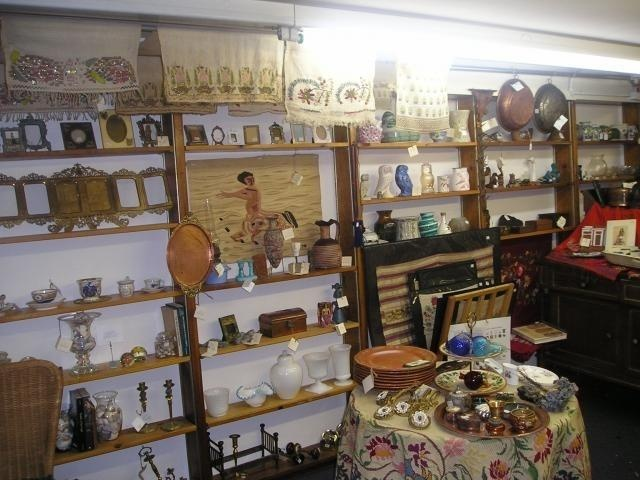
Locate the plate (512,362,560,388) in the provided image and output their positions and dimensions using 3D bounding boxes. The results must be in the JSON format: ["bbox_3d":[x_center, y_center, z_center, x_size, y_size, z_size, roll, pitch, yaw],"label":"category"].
[{"bbox_3d":[1.386,0.851,3.022,0.211,0.065,0.296,-7,11,-17],"label":"plate"}]

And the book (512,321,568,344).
[{"bbox_3d":[2.299,0.978,4.977,0.297,0.056,0.285,-9,14,-21],"label":"book"}]

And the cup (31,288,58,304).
[{"bbox_3d":[-1.881,0.380,3.243,0.116,0.063,0.117,1,-6,0],"label":"cup"}]

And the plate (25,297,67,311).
[{"bbox_3d":[-1.846,0.441,3.240,0.224,0.056,0.216,-11,13,-34],"label":"plate"}]

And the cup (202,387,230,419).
[{"bbox_3d":[-0.805,1.267,3.720,0.224,0.172,0.201,-3,-2,-20],"label":"cup"}]

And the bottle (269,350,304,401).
[{"bbox_3d":[-0.314,1.104,3.952,0.325,0.381,0.310,14,-32,-23],"label":"bottle"}]

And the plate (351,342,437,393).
[{"bbox_3d":[0.503,0.852,3.175,0.522,0.165,0.505,-7,11,-14],"label":"plate"}]

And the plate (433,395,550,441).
[{"bbox_3d":[0.928,0.925,2.585,0.617,0.129,0.331,-4,11,3],"label":"plate"}]

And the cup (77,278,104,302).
[{"bbox_3d":[-1.602,0.342,3.328,0.164,0.129,0.165,0,1,0],"label":"cup"}]

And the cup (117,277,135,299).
[{"bbox_3d":[-1.393,0.343,3.428,0.136,0.147,0.136,0,-2,0],"label":"cup"}]

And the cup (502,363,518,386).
[{"bbox_3d":[1.200,0.852,3.017,0.081,0.121,0.133,3,10,10],"label":"cup"}]

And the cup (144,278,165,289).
[{"bbox_3d":[-1.235,0.324,3.563,0.105,0.064,0.079,1,0,-35],"label":"cup"}]
